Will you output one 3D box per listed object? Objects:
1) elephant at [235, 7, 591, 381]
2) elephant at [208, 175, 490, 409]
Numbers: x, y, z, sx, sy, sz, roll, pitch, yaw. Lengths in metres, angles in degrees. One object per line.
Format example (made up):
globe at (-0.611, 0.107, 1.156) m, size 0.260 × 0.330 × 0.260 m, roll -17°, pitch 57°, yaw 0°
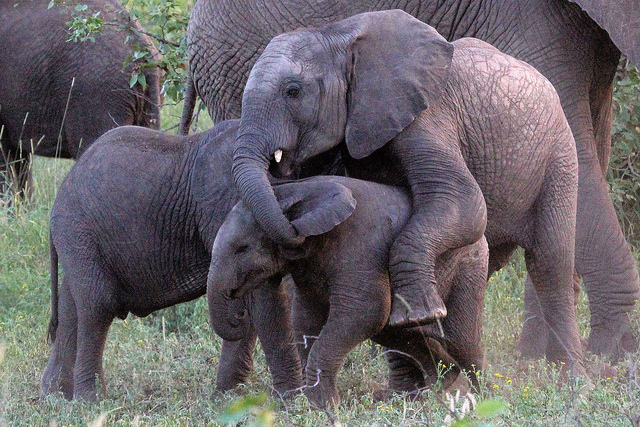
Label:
elephant at (0.492, 0.130, 5.331) m, size 2.568 × 2.483 × 1.499 m, roll 16°, pitch -24°, yaw -20°
elephant at (0.200, 0.432, 4.589) m, size 1.693 × 1.452 × 1.047 m, roll 1°, pitch 3°, yaw -8°
